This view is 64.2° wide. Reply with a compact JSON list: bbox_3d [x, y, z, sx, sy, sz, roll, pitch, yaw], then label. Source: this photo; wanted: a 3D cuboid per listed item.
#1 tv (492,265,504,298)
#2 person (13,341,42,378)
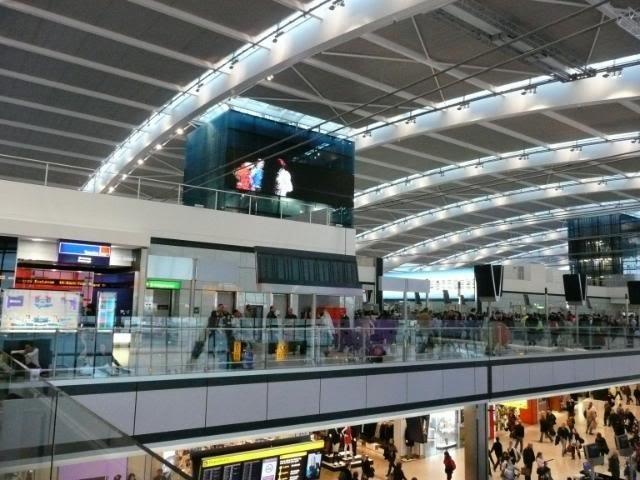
[{"bbox_3d":[6.727,1.549,19.406,0.410,1.240,0.626,-1,-10,17],"label":"tv"},{"bbox_3d":[-6.742,2.740,11.774,0.630,0.728,0.228,5,-10,-24],"label":"person"}]
